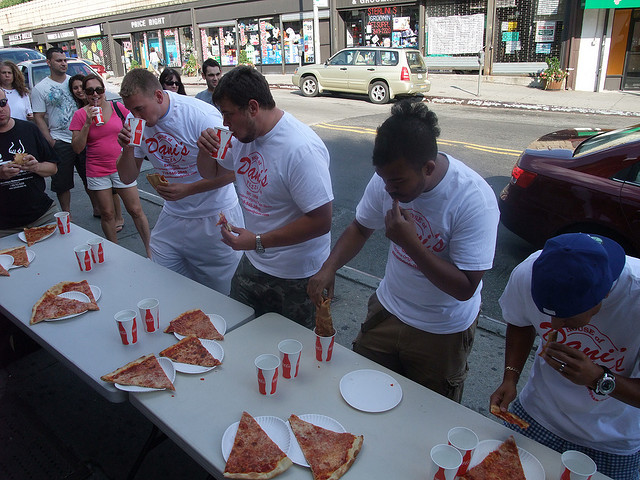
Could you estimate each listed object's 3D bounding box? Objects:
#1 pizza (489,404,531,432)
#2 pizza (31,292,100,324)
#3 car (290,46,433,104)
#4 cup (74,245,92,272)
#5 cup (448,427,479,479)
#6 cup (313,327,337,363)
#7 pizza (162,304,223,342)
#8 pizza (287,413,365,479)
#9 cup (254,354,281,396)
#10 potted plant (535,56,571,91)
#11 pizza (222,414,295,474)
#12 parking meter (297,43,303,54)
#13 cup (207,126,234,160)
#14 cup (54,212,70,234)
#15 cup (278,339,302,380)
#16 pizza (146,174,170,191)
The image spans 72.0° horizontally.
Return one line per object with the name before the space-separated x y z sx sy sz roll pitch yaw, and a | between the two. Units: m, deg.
pizza | 1.024 0.969 2.445 0.240 0.141 0.068 22 76 43
pizza | -1.896 0.524 3.178 0.454 0.100 0.304 3 27 15
car | 1.447 -6.055 16.788 4.965 2.080 2.395 18 34 27
cup | -2.032 0.143 3.794 0.128 0.187 0.231 -18 29 -28
cup | 0.707 1.070 2.182 0.144 0.231 0.150 3 18 -1
cup | 0.007 0.668 2.884 0.173 0.211 0.184 2 18 -1
pizza | -0.865 0.616 3.020 0.429 0.052 0.358 24 31 36
pizza | -0.013 1.085 2.282 0.407 0.090 0.280 7 29 23
cup | -0.305 0.790 2.617 0.151 0.197 0.181 -7 25 -6
potted plant | 9.134 -6.488 17.135 1.018 1.376 1.033 -33 46 -20
pizza | -0.296 1.098 2.266 0.330 0.118 0.323 2 27 14
parking meter | -1.087 -10.454 23.927 0.352 0.587 0.390 4 25 7
cup | -0.793 -0.779 3.505 0.164 0.210 0.150 27 16 -9
cup | -2.553 -0.172 4.361 0.172 0.222 0.178 -1 6 0
cup | -0.191 0.759 2.713 0.144 0.194 0.154 0 1 0
pizza | -1.462 -0.512 3.916 0.218 0.159 0.138 16 32 37
